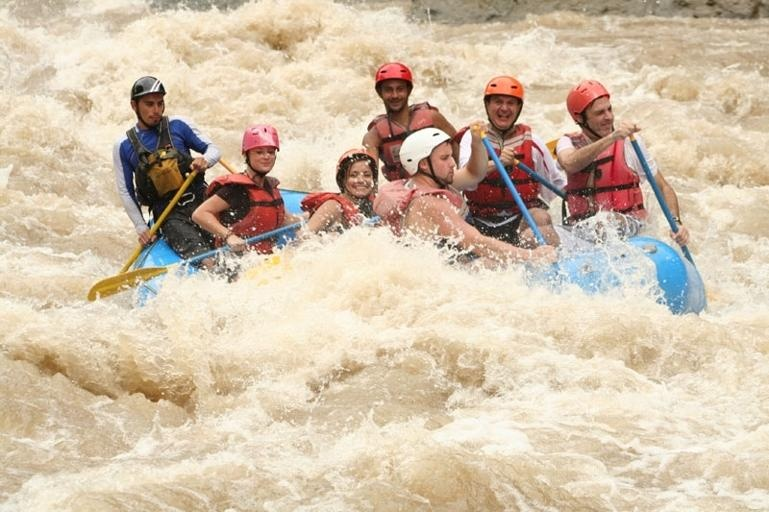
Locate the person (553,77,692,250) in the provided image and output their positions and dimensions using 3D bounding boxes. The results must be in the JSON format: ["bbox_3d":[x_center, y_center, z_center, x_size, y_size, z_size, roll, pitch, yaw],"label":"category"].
[{"bbox_3d":[2.508,-0.728,12.275,1.242,2.106,1.162,-3,17,16],"label":"person"}]

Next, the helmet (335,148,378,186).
[{"bbox_3d":[-0.320,-1.049,12.714,0.392,0.470,0.439,1,24,-1],"label":"helmet"}]

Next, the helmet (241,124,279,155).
[{"bbox_3d":[-1.382,-1.249,12.423,0.294,0.375,0.268,-1,62,-21],"label":"helmet"}]

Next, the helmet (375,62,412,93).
[{"bbox_3d":[0.097,-2.110,13.425,0.414,0.368,0.313,-2,39,-1],"label":"helmet"}]

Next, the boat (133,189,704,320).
[{"bbox_3d":[0.807,0.089,11.336,4.318,0.727,2.077,-2,41,3],"label":"boat"}]

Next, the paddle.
[{"bbox_3d":[-1.929,0.076,12.190,2.384,0.225,0.236,-16,26,-14],"label":"paddle"}]

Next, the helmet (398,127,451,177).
[{"bbox_3d":[0.376,-1.002,11.413,0.428,0.510,0.394,17,23,27],"label":"helmet"}]

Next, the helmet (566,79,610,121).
[{"bbox_3d":[2.194,-1.661,12.199,0.397,0.404,0.291,-4,39,-4],"label":"helmet"}]
